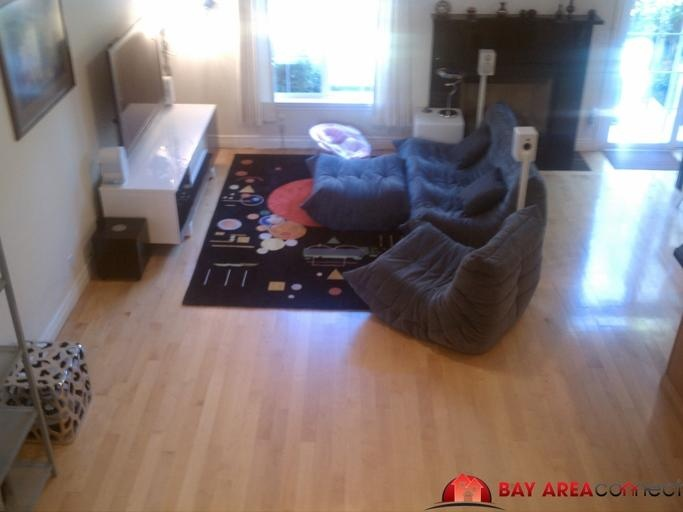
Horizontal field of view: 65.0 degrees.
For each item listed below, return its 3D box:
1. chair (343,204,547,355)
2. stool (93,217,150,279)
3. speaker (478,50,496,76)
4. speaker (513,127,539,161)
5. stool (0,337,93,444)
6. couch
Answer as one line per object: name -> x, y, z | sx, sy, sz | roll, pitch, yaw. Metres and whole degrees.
chair -> 0.671, -0.017, 3.797 | 1.334, 0.892, 0.968 | 25, 47, 38
stool -> -1.735, -0.063, 4.152 | 0.403, 0.392, 0.330 | -2, 28, 0
speaker -> 1.475, -1.969, 5.444 | 0.161, 0.238, 0.221 | 3, 29, 10
speaker -> 1.287, -0.776, 3.774 | 0.153, 0.250, 0.200 | 6, 29, 14
stool -> -1.623, 0.781, 3.102 | 0.507, 0.412, 0.485 | 3, 31, -13
couch -> 1.094, -0.770, 4.837 | 1.173, 0.725, 1.980 | 3, 31, 9
